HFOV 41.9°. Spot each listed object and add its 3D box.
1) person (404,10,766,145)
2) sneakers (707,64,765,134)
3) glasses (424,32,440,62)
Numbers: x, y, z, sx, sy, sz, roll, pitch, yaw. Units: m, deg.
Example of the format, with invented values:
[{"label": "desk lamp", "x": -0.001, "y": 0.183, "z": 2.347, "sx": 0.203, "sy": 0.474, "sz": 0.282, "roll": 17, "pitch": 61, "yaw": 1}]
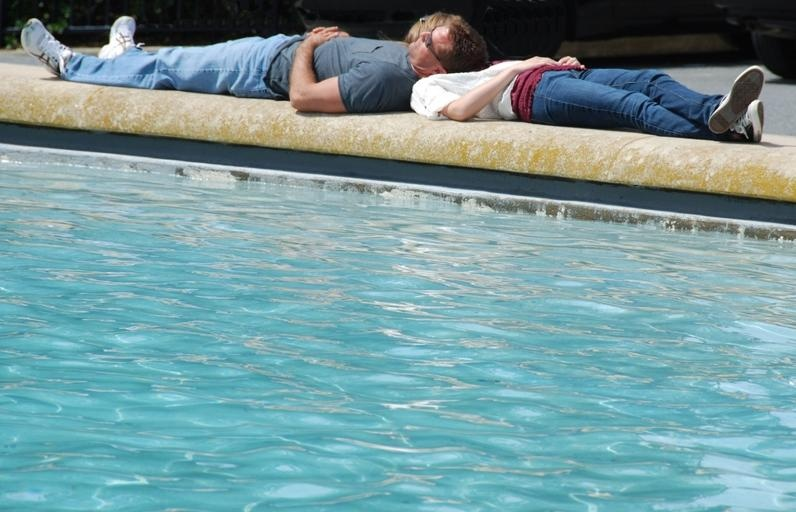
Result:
[{"label": "person", "x": 0.940, "y": -0.953, "z": 5.597, "sx": 1.741, "sy": 0.332, "sz": 0.770, "roll": 17, "pitch": 42, "yaw": 24}, {"label": "sneakers", "x": 1.663, "y": -0.769, "z": 5.097, "sx": 0.254, "sy": 0.327, "sz": 0.270, "roll": 11, "pitch": 10, "yaw": 21}, {"label": "glasses", "x": 0.183, "y": -1.170, "z": 5.764, "sx": 0.067, "sy": 0.125, "sz": 0.160, "roll": -24, "pitch": 6, "yaw": -9}]
